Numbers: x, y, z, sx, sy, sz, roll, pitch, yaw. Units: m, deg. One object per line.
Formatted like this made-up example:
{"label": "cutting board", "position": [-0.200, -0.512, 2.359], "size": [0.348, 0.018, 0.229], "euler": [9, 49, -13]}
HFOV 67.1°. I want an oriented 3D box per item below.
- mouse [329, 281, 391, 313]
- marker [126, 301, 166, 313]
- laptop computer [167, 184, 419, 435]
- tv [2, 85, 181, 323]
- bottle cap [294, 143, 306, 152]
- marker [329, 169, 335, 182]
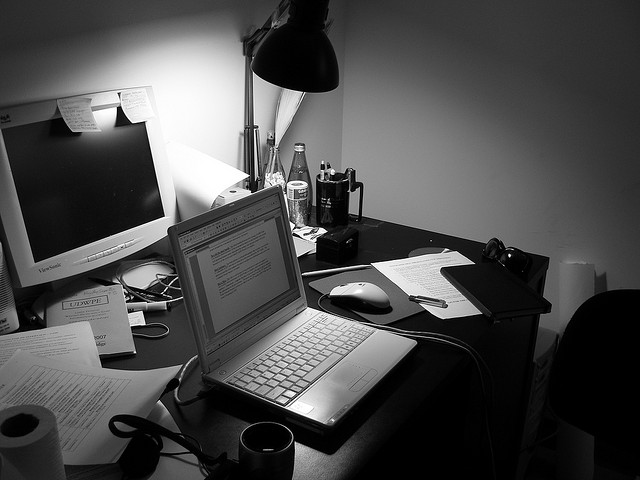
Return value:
{"label": "mouse", "position": [0.114, 0.128, 1.283], "size": [0.131, 0.046, 0.078], "euler": [14, 26, 22]}
{"label": "marker", "position": [-0.445, 0.169, 1.231], "size": [0.135, 0.037, 0.034], "euler": [0, -6, -21]}
{"label": "laptop computer", "position": [-0.048, 0.110, 1.040], "size": [0.447, 0.352, 0.471], "euler": [-15, 21, -36]}
{"label": "tv", "position": [-0.586, -0.087, 1.203], "size": [0.180, 0.523, 0.451], "euler": [16, 29, 37]}
{"label": "bottle cap", "position": [-0.081, -0.351, 1.798], "size": [0.035, 0.022, 0.037], "euler": [-1, 17, -2]}
{"label": "marker", "position": [0.040, -0.226, 1.700], "size": [0.016, 0.037, 0.029], "euler": [1, 20, 13]}
